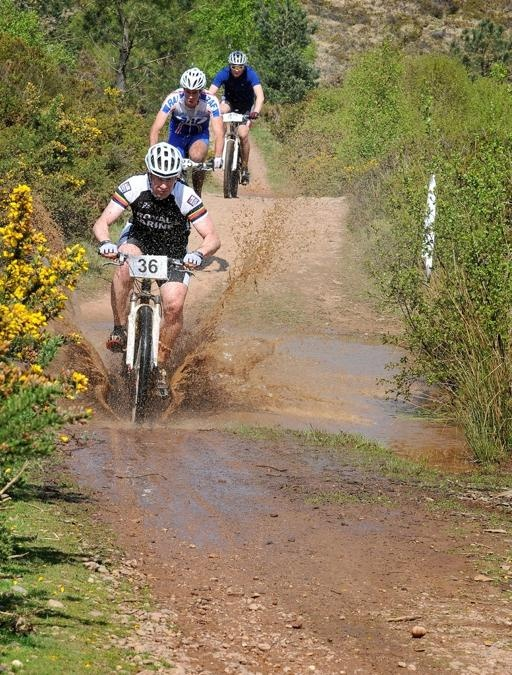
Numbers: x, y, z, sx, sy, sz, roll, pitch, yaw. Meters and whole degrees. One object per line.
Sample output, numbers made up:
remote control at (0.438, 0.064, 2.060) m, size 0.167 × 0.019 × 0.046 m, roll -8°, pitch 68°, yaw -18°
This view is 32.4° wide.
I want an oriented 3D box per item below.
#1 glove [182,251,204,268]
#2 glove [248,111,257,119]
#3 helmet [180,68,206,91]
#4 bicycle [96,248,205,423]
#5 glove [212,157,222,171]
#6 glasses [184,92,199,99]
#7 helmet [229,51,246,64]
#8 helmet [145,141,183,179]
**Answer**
glove at (-0.510, -0.642, 7.220) m, size 0.156 × 0.139 × 0.294 m, roll 3°, pitch 11°, yaw -5°
glove at (-0.033, -3.603, 14.252) m, size 0.138 × 0.057 × 0.170 m, roll 1°, pitch 6°, yaw 4°
helmet at (-0.728, -3.109, 10.484) m, size 0.246 × 0.304 × 0.112 m, roll 5°, pitch -28°, yaw 0°
bicycle at (-0.919, 0.033, 7.544) m, size 0.576 × 1.572 × 0.769 m, roll 4°, pitch 12°, yaw -5°
glove at (-0.475, -2.214, 11.082) m, size 0.082 × 0.144 × 0.199 m, roll -3°, pitch 39°, yaw -2°
glasses at (-0.761, -2.937, 10.631) m, size 0.092 × 0.094 × 0.113 m, roll 8°, pitch 13°, yaw 6°
helmet at (-0.275, -4.466, 14.100) m, size 0.259 × 0.256 × 0.489 m, roll 3°, pitch 11°, yaw -4°
helmet at (-0.728, -1.419, 7.042) m, size 0.280 × 0.272 × 0.286 m, roll 2°, pitch 12°, yaw -10°
